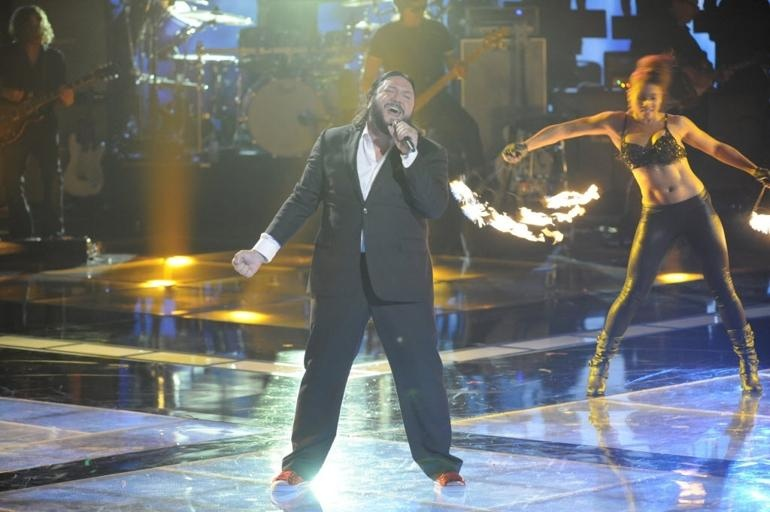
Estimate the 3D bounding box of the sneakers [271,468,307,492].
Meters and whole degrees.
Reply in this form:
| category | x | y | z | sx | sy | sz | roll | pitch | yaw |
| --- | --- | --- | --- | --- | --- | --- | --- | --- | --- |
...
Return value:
| category | x | y | z | sx | sy | sz | roll | pitch | yaw |
| --- | --- | --- | --- | --- | --- | --- | --- | --- | --- |
| sneakers | -0.502 | 1.174 | 4.474 | 0.172 | 0.093 | 0.095 | -1 | 11 | -3 |

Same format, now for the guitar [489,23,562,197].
| category | x | y | z | sx | sy | sz | roll | pitch | yaw |
| --- | --- | --- | --- | --- | --- | --- | --- | --- | --- |
| guitar | 1.992 | -1.833 | 11.498 | 1.349 | 2.081 | 1.408 | -6 | 4 | 6 |

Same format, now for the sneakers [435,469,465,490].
| category | x | y | z | sx | sy | sz | roll | pitch | yaw |
| --- | --- | --- | --- | --- | --- | --- | --- | --- | --- |
| sneakers | 0.344 | 1.188 | 4.507 | 0.140 | 0.041 | 0.072 | 3 | -1 | -3 |

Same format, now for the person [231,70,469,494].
| category | x | y | z | sx | sy | sz | roll | pitch | yaw |
| --- | --- | --- | --- | --- | --- | --- | --- | --- | --- |
| person | -0.083 | 0.112 | 4.564 | 0.974 | 2.175 | 0.672 | -2 | 12 | -6 |

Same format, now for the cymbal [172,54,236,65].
| category | x | y | z | sx | sy | sz | roll | pitch | yaw |
| --- | --- | --- | --- | --- | --- | --- | --- | --- | --- |
| cymbal | -2.606 | -2.893 | 12.409 | 0.274 | 0.146 | 1.136 | 5 | 11 | 28 |

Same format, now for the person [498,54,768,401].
| category | x | y | z | sx | sy | sz | roll | pitch | yaw |
| --- | --- | --- | --- | --- | --- | --- | --- | --- | --- |
| person | 1.901 | -0.231 | 5.982 | 1.591 | 2.335 | 0.683 | 1 | 12 | 8 |

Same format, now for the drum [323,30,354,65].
| category | x | y | z | sx | sy | sz | roll | pitch | yaw |
| --- | --- | --- | --- | --- | --- | --- | --- | --- | --- |
| drum | -0.691 | -3.187 | 12.988 | 0.488 | 0.504 | 0.444 | -1 | 11 | -3 |
